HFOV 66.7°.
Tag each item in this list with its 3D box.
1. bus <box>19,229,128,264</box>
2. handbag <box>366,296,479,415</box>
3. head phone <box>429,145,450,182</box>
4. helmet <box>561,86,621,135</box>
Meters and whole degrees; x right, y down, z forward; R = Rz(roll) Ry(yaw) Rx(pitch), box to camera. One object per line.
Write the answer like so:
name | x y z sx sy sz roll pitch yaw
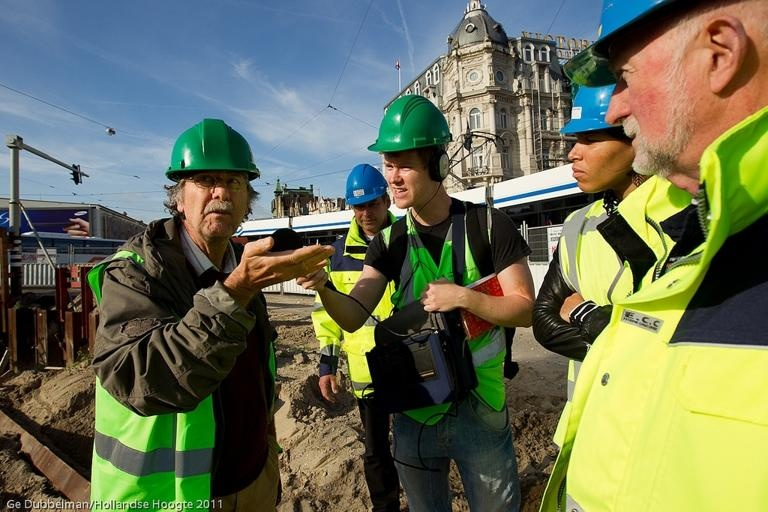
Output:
bus | -15.381 -0.529 28.421 1.569 1.898 6.265 1 0 0
handbag | 0.273 0.678 4.027 0.713 0.812 0.577 -16 -12 16
head phone | 0.367 -0.628 4.018 0.078 0.229 0.152 0 -4 -39
helmet | 1.293 -0.914 3.703 0.415 0.284 0.341 -5 20 -4
